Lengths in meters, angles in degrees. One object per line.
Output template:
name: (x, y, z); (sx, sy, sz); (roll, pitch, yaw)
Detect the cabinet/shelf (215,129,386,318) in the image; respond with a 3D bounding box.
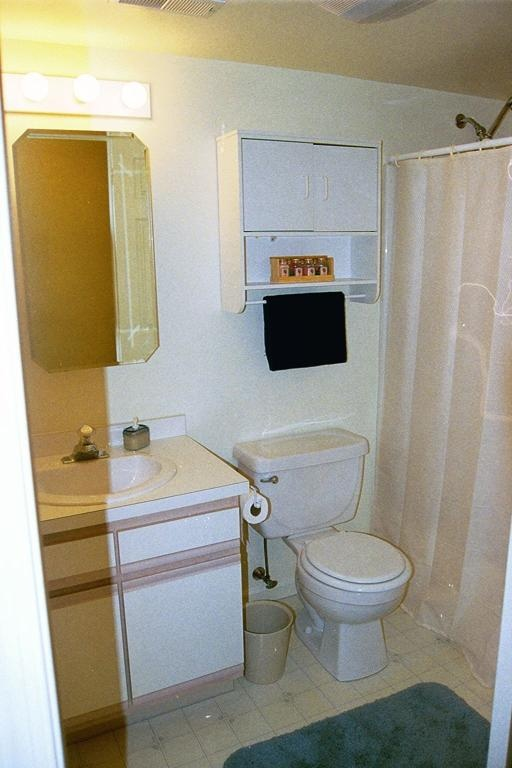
cabinet/shelf: (0.138, -0.575, 2.082); (0.658, 0.630, 0.209); (-7, 14, -25)

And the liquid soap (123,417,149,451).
liquid soap: (-0.411, 0.172, 1.993); (0.099, 0.137, 0.072); (-4, 5, -41)

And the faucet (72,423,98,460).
faucet: (-0.555, 0.187, 1.890); (0.087, 0.107, 0.062); (-5, 28, -23)

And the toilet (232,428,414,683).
toilet: (0.267, 0.628, 2.214); (0.508, 0.730, 0.692); (-6, 14, -26)

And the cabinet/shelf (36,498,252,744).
cabinet/shelf: (-0.444, 0.670, 1.846); (0.755, 0.729, 0.400); (-8, 16, -23)

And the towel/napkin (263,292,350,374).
towel/napkin: (0.180, -0.201, 2.241); (0.288, 0.247, 0.039); (-10, 18, -26)

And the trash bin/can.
trash bin/can: (0.041, 0.895, 2.123); (0.192, 0.223, 0.215); (-6, 15, -27)
